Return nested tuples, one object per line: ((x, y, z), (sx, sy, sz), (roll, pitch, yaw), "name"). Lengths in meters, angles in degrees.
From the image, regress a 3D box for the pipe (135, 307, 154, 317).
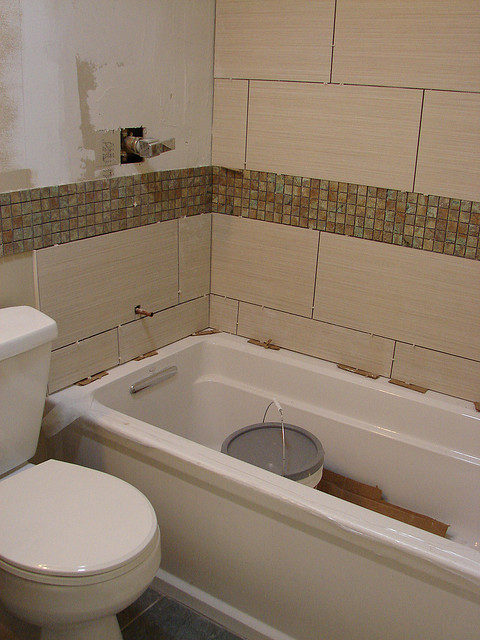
((-0.352, -0.028, 1.826), (0.052, 0.025, 0.028), (21, 36, 10), "pipe")

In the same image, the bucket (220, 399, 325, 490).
((0.104, 0.408, 1.590), (0.262, 0.247, 0.262), (0, 18, 0), "bucket")
